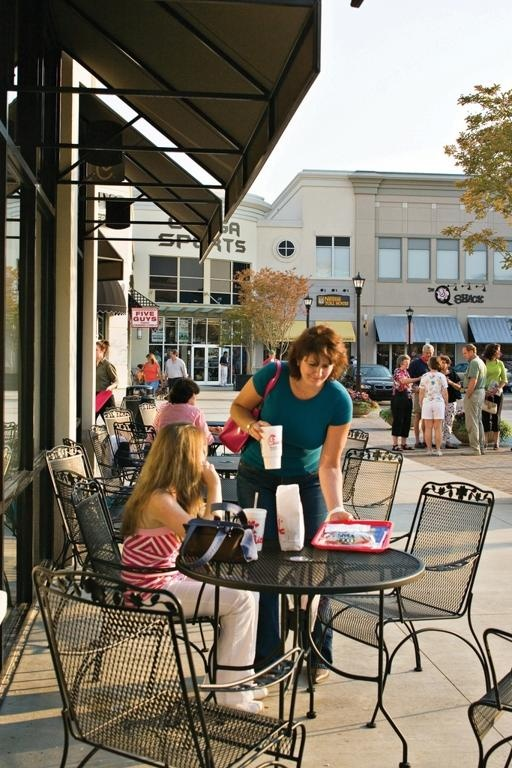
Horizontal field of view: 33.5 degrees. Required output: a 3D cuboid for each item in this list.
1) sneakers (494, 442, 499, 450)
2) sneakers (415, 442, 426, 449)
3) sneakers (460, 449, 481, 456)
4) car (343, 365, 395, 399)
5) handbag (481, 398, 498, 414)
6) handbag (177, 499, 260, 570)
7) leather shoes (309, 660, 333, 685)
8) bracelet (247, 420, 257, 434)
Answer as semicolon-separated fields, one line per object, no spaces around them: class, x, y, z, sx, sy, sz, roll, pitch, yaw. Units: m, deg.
sneakers;4.316;1.120;15.297;0.082;0.105;0.251;0;7;12
sneakers;3.000;1.142;15.611;0.125;0.130;0.335;-2;-4;10
sneakers;3.599;1.164;14.327;0.255;0.105;0.117;4;-4;22
car;4.251;-0.037;31.811;1.051;0.837;2.281;0;-2;-9
handbag;4.077;0.387;14.926;0.230;0.225;0.096;18;35;25
handbag;-0.136;0.603;3.246;0.364;0.279;0.223;-2;-8;27
leather shoes;0.322;1.450;4.235;0.075;0.083;0.198;-5;-16;8
bracelet;-0.021;0.199;3.917;0.042;0.057;0.023;-4;52;-36
